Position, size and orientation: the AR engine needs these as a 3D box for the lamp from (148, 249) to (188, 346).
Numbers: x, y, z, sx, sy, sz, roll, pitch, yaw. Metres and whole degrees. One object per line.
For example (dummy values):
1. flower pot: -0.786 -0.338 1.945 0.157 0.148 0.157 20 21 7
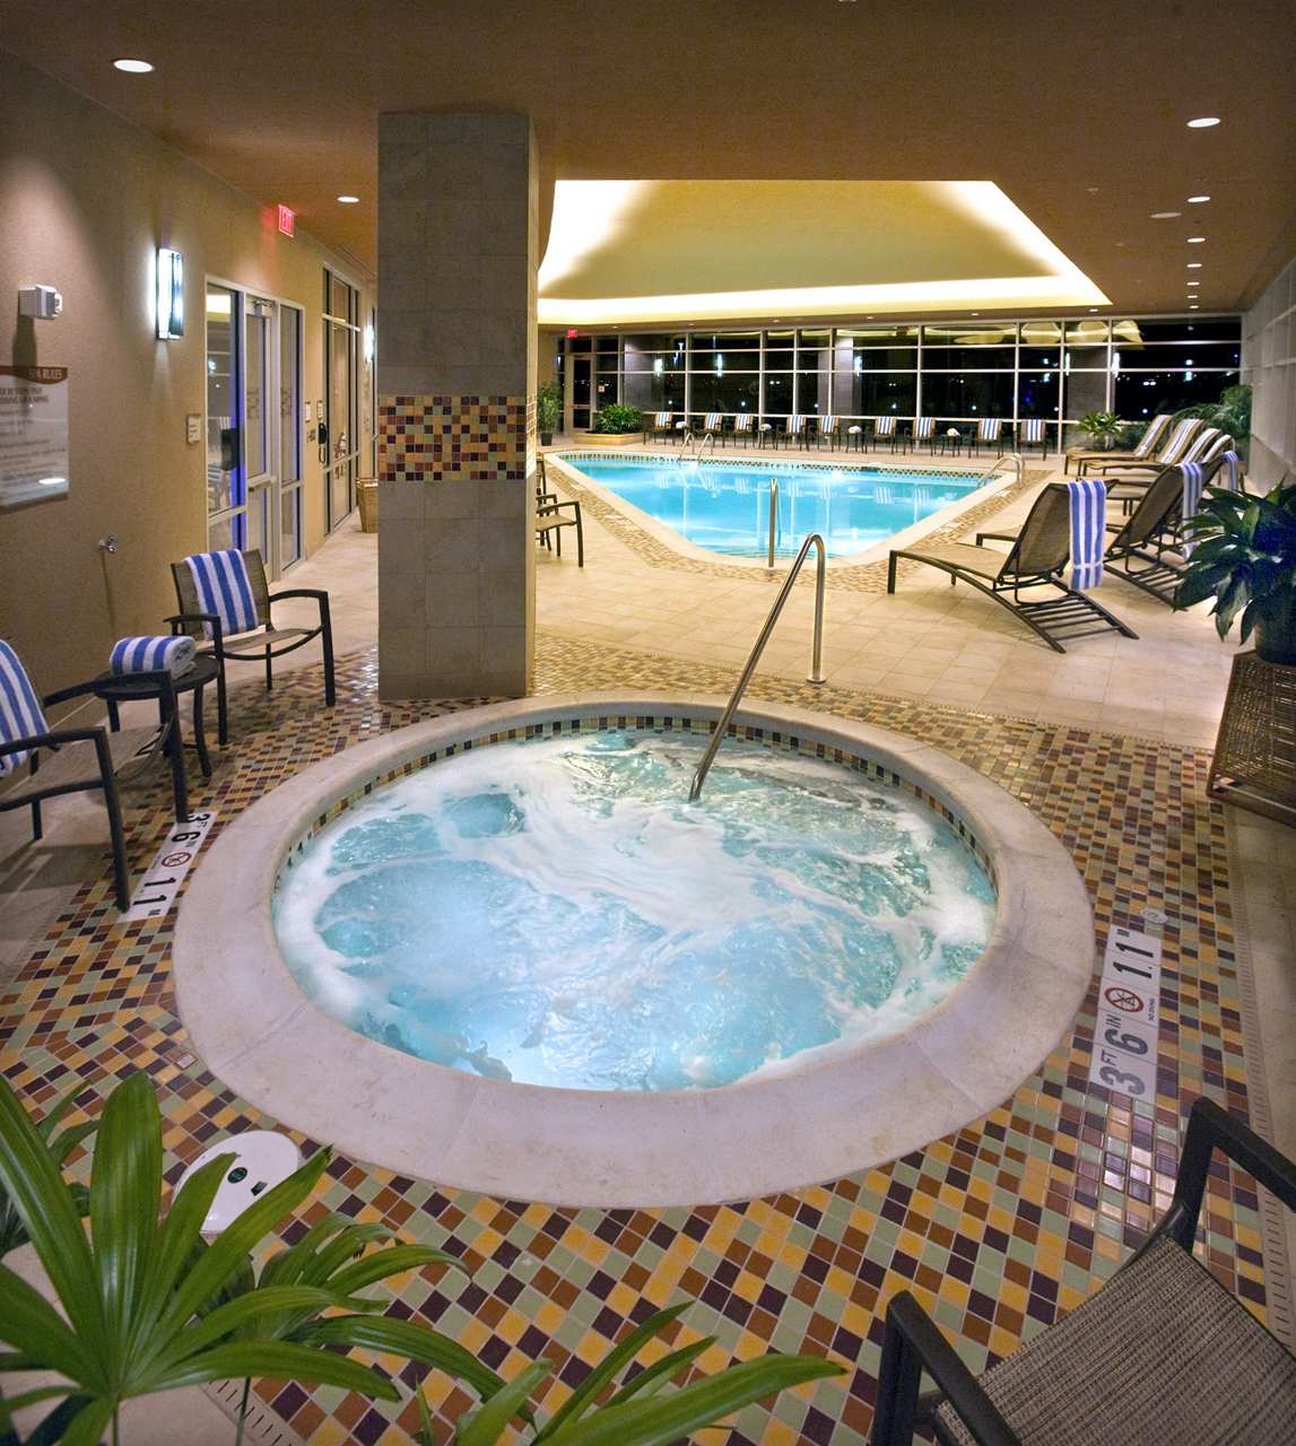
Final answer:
1. lamp: -2.934 -2.613 5.744 0.150 0.571 0.376 -4 16 -15
